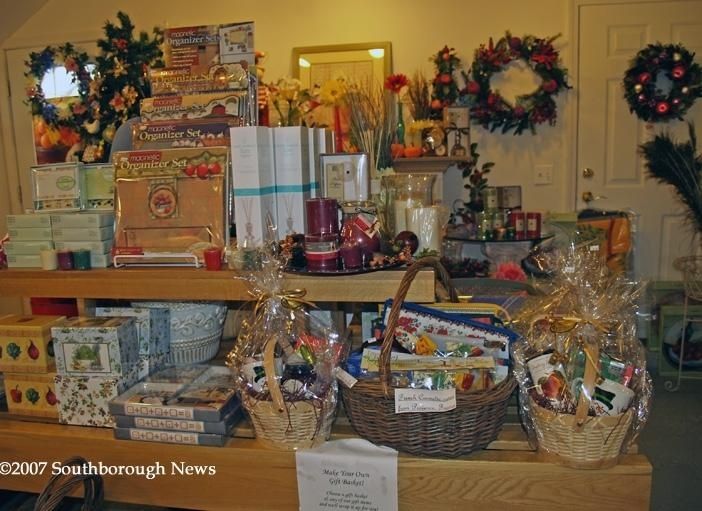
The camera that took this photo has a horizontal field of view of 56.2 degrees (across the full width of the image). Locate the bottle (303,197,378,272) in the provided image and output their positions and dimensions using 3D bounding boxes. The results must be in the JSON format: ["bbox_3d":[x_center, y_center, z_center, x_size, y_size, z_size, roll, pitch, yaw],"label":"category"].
[{"bbox_3d":[-0.036,-0.070,2.253,0.292,0.263,0.193,0,4,10],"label":"bottle"}]

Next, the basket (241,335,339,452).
[{"bbox_3d":[-0.153,0.429,2.233,0.339,0.394,0.348,0,1,11],"label":"basket"}]

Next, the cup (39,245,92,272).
[{"bbox_3d":[-1.034,0.009,2.349,0.133,0.060,0.083,2,1,-3],"label":"cup"}]

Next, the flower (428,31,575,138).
[{"bbox_3d":[1.047,-1.201,4.591,0.976,0.691,0.232,-2,5,5],"label":"flower"}]

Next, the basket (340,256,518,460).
[{"bbox_3d":[0.236,0.322,2.285,0.631,0.604,0.500,0,10,11],"label":"basket"}]

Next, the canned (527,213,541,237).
[{"bbox_3d":[1.222,-0.210,4.395,0.099,0.153,0.224,-1,5,15],"label":"canned"}]

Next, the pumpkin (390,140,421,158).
[{"bbox_3d":[0.363,-0.698,4.381,0.192,0.084,0.199,-2,13,-3],"label":"pumpkin"}]

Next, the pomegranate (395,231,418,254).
[{"bbox_3d":[0.200,-0.045,2.307,0.068,0.081,0.125,1,5,32],"label":"pomegranate"}]

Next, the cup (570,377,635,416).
[{"bbox_3d":[0.774,0.431,2.018,0.133,0.093,0.109,20,-13,7],"label":"cup"}]

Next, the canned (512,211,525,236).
[{"bbox_3d":[1.123,-0.204,4.397,0.091,0.169,0.232,-1,5,13],"label":"canned"}]

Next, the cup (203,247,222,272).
[{"bbox_3d":[-0.485,0.012,2.303,0.070,0.079,0.069,0,11,0],"label":"cup"}]
